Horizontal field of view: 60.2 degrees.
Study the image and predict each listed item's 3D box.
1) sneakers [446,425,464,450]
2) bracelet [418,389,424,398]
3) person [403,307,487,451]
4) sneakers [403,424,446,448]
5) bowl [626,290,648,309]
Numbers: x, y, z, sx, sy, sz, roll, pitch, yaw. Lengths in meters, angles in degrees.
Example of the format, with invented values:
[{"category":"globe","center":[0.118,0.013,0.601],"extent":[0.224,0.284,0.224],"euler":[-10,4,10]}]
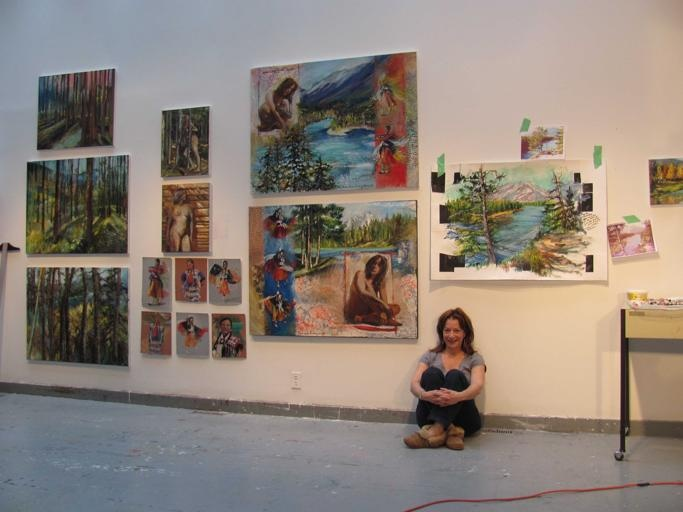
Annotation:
[{"category":"sneakers","center":[0.860,1.372,4.485],"extent":[0.141,0.160,0.236],"euler":[-2,-2,9]},{"category":"bracelet","center":[0.612,1.070,4.532],"extent":[0.018,0.052,0.043],"euler":[6,-2,-6]},{"category":"person","center":[0.821,0.945,4.640],"extent":[0.574,1.023,0.667],"euler":[-3,-2,18]},{"category":"sneakers","center":[0.635,1.371,4.474],"extent":[0.275,0.163,0.113],"euler":[-11,26,3]},{"category":"bowl","center":[2.261,0.342,4.509],"extent":[0.126,0.103,0.132],"euler":[0,-3,0]}]
